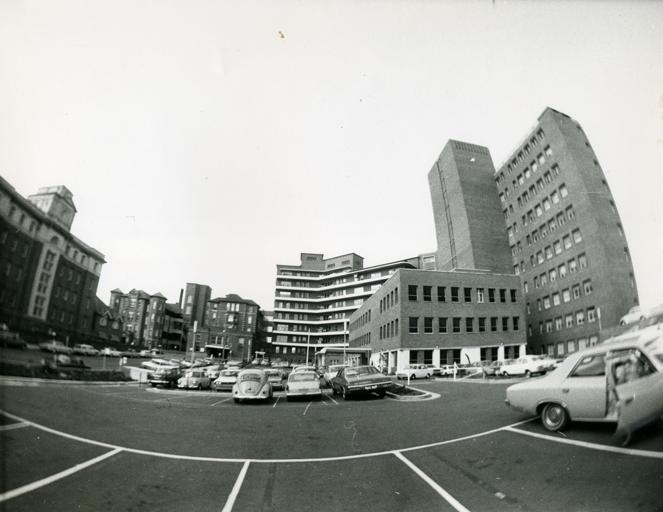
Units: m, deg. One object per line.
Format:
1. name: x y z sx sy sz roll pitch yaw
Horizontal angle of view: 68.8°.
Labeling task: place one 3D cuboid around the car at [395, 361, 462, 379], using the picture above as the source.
1. car: 8.104 9.501 39.967 5.393 1.068 3.261 2 -9 -23
